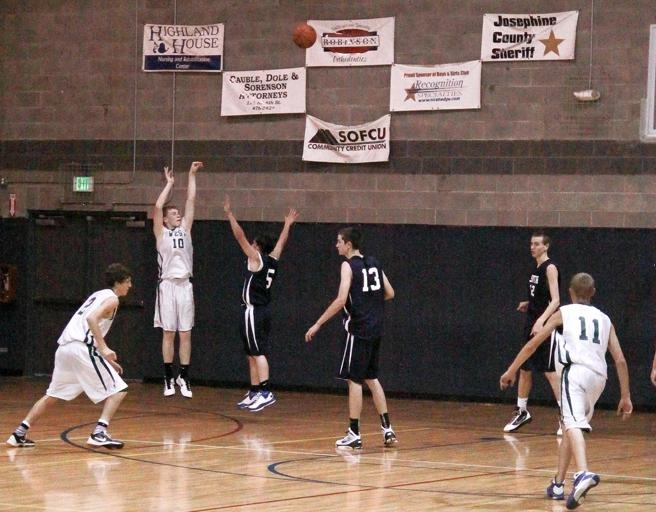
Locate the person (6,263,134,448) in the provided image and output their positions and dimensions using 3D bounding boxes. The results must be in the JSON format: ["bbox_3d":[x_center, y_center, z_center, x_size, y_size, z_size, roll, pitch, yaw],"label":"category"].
[{"bbox_3d":[-2.393,0.988,9.148,1.091,1.819,0.741,2,2,40],"label":"person"}]

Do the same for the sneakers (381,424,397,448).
[{"bbox_3d":[0.623,1.869,9.718,0.163,0.220,0.470,-4,-10,2],"label":"sneakers"}]

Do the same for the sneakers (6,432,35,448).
[{"bbox_3d":[-3.047,1.805,9.257,0.283,0.138,0.123,3,2,-23],"label":"sneakers"}]

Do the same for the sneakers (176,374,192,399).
[{"bbox_3d":[-1.776,1.600,11.539,0.144,0.256,0.279,0,1,-19],"label":"sneakers"}]

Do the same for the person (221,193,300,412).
[{"bbox_3d":[-0.811,0.684,11.398,0.534,2.492,0.791,2,2,40],"label":"person"}]

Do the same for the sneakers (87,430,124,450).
[{"bbox_3d":[-2.170,1.790,9.169,0.415,0.203,0.157,2,-4,-1],"label":"sneakers"}]

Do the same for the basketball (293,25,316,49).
[{"bbox_3d":[-0.338,-3.178,13.499,0.327,0.371,0.174,1,1,11],"label":"basketball"}]

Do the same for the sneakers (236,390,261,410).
[{"bbox_3d":[-1.005,1.761,11.517,0.171,0.242,0.509,4,-13,-38],"label":"sneakers"}]

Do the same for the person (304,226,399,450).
[{"bbox_3d":[0.317,0.835,9.764,0.804,2.247,0.956,1,1,3],"label":"person"}]

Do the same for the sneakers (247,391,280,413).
[{"bbox_3d":[-0.800,1.730,11.291,0.425,0.200,0.165,-32,-8,0],"label":"sneakers"}]

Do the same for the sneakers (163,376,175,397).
[{"bbox_3d":[-1.970,1.654,11.741,0.162,0.232,0.505,1,-11,-8],"label":"sneakers"}]

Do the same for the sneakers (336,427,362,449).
[{"bbox_3d":[0.207,1.846,9.516,0.277,0.207,0.194,1,1,0],"label":"sneakers"}]
